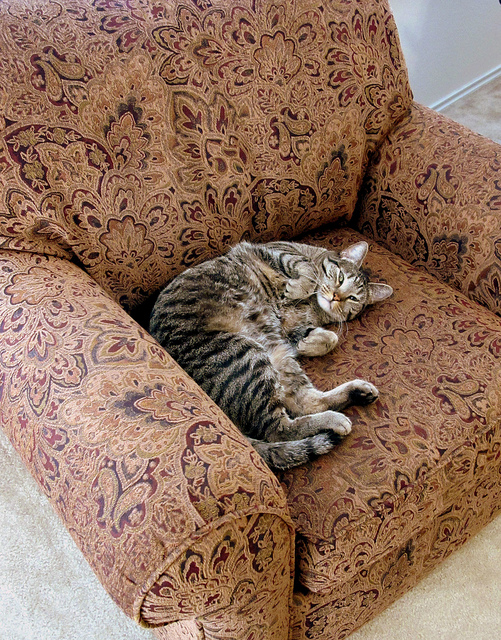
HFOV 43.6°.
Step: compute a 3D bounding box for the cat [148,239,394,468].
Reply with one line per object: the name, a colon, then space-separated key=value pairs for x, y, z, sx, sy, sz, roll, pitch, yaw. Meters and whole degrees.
cat: x=0.033 y=0.008 z=1.511 sx=0.597 sy=0.199 sz=0.653 roll=22 pitch=43 yaw=-7
